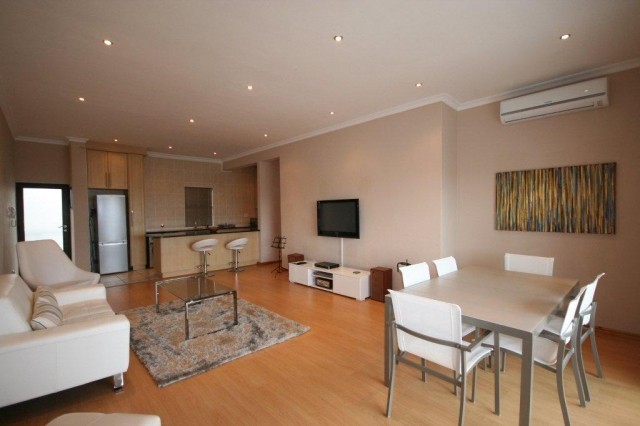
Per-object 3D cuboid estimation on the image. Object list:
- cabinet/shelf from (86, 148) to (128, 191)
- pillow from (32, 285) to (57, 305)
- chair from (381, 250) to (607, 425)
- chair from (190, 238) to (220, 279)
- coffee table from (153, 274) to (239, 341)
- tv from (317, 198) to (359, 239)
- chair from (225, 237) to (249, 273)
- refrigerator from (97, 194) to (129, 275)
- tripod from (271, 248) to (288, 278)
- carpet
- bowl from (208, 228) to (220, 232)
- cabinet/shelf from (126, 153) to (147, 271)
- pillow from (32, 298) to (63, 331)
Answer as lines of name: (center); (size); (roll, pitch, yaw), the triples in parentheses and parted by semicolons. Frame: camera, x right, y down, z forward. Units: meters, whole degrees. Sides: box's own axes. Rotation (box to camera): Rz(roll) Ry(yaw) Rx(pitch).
cabinet/shelf: (-4.770, -0.986, 9.363); (0.316, 0.911, 0.915); (8, 8, 43)
pillow: (-3.574, 1.100, 5.495); (0.163, 0.202, 0.738); (-2, 2, -37)
chair: (1.681, 1.417, 4.654); (1.685, 1.211, 1.860); (4, 7, 38)
chair: (-2.580, 1.004, 9.367); (0.693, 1.159, 0.556); (-4, 11, -35)
coffee table: (-1.844, 1.636, 6.590); (0.815, 0.549, 1.280); (-4, 8, -39)
tv: (0.343, 0.081, 8.224); (1.069, 0.751, 0.159); (6, 11, 43)
chair: (-1.986, 0.980, 9.909); (0.647, 0.930, 0.587); (-4, 12, -34)
refrigerator: (-4.674, 0.472, 9.486); (0.646, 1.764, 0.238); (-7, 10, -30)
tripod: (-0.929, 1.209, 9.792); (0.444, 0.480, 0.475); (-1, 5, -16)
carpet: (-1.702, 1.776, 6.537); (2.279, 0.313, 2.267); (-6, 9, -31)
bowl: (-2.776, 0.414, 10.929); (0.230, 0.057, 0.233); (2, 3, 0)
cabinet/shelf: (-4.261, -0.025, 9.807); (0.465, 2.664, 0.202); (-7, 10, -31)
pillow: (-3.275, 1.245, 5.052); (0.233, 0.178, 0.542); (0, 17, -31)
